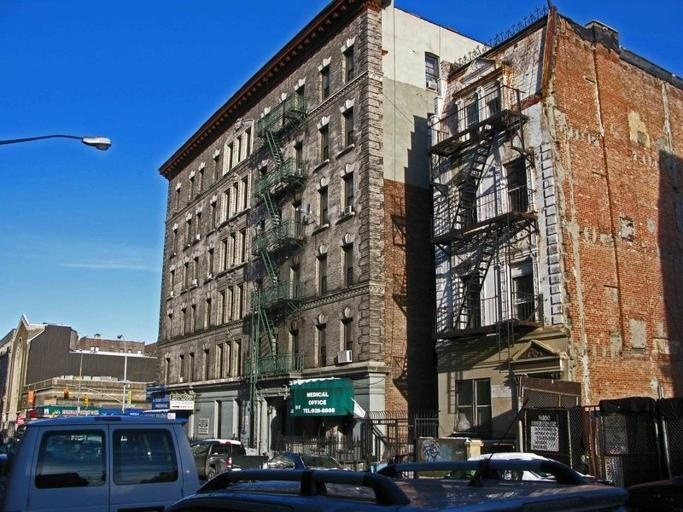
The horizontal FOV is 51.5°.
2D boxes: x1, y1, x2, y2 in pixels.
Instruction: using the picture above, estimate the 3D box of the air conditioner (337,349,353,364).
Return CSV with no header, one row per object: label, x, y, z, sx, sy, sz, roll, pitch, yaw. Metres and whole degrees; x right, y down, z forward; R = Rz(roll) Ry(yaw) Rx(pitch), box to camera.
air conditioner,0.113,4.764,33.221,0.211,0.683,1.024,13,-25,-36
